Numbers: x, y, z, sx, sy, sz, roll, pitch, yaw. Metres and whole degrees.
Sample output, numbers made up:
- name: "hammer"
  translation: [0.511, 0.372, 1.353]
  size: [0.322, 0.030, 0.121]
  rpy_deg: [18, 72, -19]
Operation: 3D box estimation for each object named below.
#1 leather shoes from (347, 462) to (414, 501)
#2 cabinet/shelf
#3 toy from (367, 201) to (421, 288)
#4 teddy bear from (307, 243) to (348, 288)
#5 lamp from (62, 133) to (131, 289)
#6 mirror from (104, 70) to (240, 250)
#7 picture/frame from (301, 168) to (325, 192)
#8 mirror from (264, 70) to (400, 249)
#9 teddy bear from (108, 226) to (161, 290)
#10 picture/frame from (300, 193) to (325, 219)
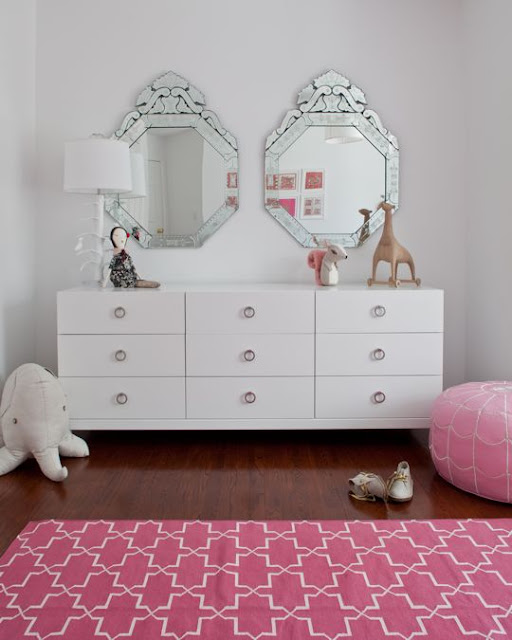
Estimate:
- name: "leather shoes"
  translation: [0.400, 0.508, 1.735]
  size: [0.206, 0.088, 0.136]
  rpy_deg: [1, 6, 10]
- name: "cabinet/shelf"
  translation: [-0.028, 0.145, 2.353]
  size: [1.543, 0.568, 0.455]
  rpy_deg: [0, 5, 1]
- name: "toy"
  translation: [0.621, -0.344, 2.457]
  size: [0.222, 0.378, 0.397]
  rpy_deg: [1, 6, 14]
- name: "teddy bear"
  translation: [0.313, -0.232, 2.380]
  size: [0.186, 0.174, 0.094]
  rpy_deg: [5, 5, 44]
- name: "lamp"
  translation: [-0.662, -0.458, 2.330]
  size: [0.273, 0.623, 0.350]
  rpy_deg: [-1, 6, -12]
- name: "mirror"
  translation: [-0.388, -0.716, 2.556]
  size: [0.652, 0.765, 0.006]
  rpy_deg: [3, 14, 10]
- name: "picture/frame"
  translation: [0.266, -0.661, 2.564]
  size: [0.114, 0.103, 0.011]
  rpy_deg: [0, 3, 2]
- name: "mirror"
  translation: [0.352, -0.788, 2.558]
  size: [0.883, 1.094, 0.018]
  rpy_deg: [-1, 4, -1]
- name: "teddy bear"
  translation: [-0.517, -0.256, 2.308]
  size: [0.230, 0.255, 0.160]
  rpy_deg: [7, 9, 12]
- name: "picture/frame"
  translation: [0.261, -0.542, 2.577]
  size: [0.121, 0.123, 0.014]
  rpy_deg: [0, 4, -4]
